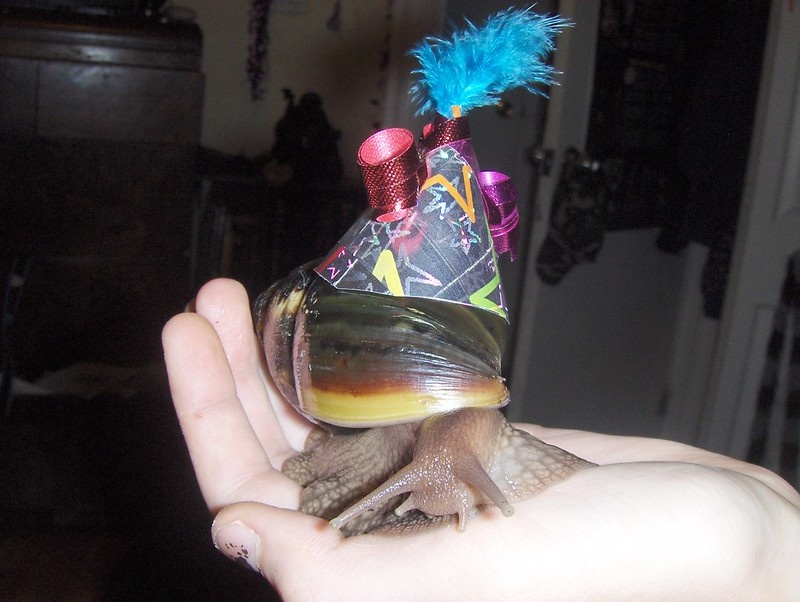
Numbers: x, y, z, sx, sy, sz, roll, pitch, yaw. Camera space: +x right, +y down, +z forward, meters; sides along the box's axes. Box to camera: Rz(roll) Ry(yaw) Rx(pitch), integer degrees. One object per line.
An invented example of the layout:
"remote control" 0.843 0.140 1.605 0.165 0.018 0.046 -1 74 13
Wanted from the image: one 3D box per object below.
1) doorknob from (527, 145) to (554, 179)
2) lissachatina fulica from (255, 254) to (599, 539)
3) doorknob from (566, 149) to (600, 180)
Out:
"doorknob" 0.267 -0.267 1.160 0.052 0.052 0.016 21 20 30
"lissachatina fulica" -0.033 0.096 0.857 0.334 0.208 0.575 -12 39 -21
"doorknob" 0.347 -0.261 1.159 0.073 0.038 0.024 38 16 2
